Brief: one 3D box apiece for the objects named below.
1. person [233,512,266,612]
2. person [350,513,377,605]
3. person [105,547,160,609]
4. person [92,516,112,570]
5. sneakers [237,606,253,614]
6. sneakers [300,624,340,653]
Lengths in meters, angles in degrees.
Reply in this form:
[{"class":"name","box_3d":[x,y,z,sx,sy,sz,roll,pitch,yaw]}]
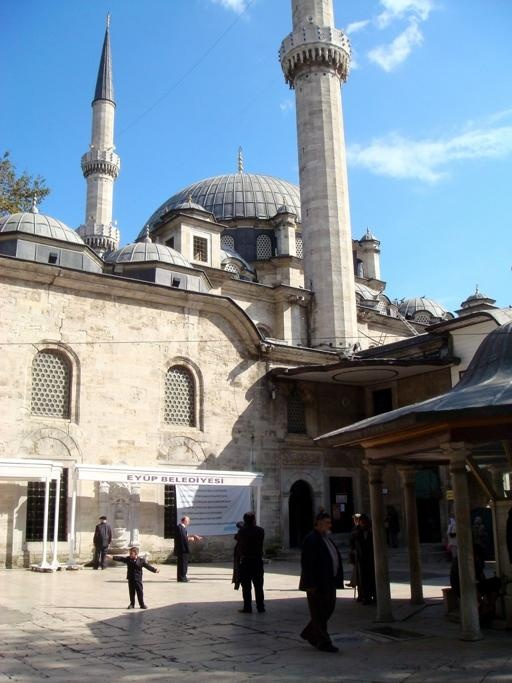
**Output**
[{"class":"person","box_3d":[-0.079,3.192,12.091,0.392,1.391,0.444,-3,-14,-1]},{"class":"person","box_3d":[1.704,3.444,13.296,0.348,1.360,1.166,-5,-13,5]},{"class":"person","box_3d":[-1.842,3.534,12.544,0.494,0.867,1.779,-1,-13,-9]},{"class":"person","box_3d":[-3.671,4.739,19.745,0.383,1.215,1.052,-1,-13,-11]},{"class":"sneakers","box_3d":[-0.159,3.833,11.941,0.211,0.136,0.077,-5,-18,34]},{"class":"sneakers","box_3d":[0.698,3.323,9.288,0.183,0.202,0.533,9,-19,-34]}]
